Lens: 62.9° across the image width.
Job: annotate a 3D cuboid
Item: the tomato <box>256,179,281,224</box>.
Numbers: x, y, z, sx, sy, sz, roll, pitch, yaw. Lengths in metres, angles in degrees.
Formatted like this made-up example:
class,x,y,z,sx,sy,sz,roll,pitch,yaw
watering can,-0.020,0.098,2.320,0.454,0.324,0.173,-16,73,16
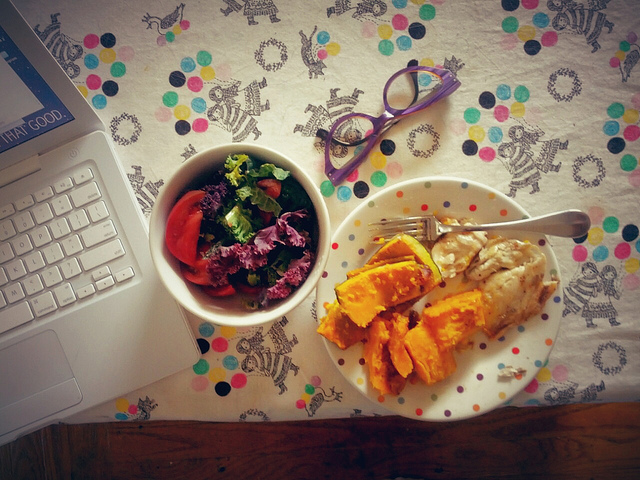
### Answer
class,x,y,z,sx,sy,sz,roll,pitch,yaw
tomato,-0.117,-0.081,1.087,0.035,0.083,0.048,11,-13,37

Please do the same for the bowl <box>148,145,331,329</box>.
class,x,y,z,sx,sy,sz,roll,pitch,yaw
bowl,-0.164,-0.016,1.132,0.361,0.370,0.175,5,3,-2
